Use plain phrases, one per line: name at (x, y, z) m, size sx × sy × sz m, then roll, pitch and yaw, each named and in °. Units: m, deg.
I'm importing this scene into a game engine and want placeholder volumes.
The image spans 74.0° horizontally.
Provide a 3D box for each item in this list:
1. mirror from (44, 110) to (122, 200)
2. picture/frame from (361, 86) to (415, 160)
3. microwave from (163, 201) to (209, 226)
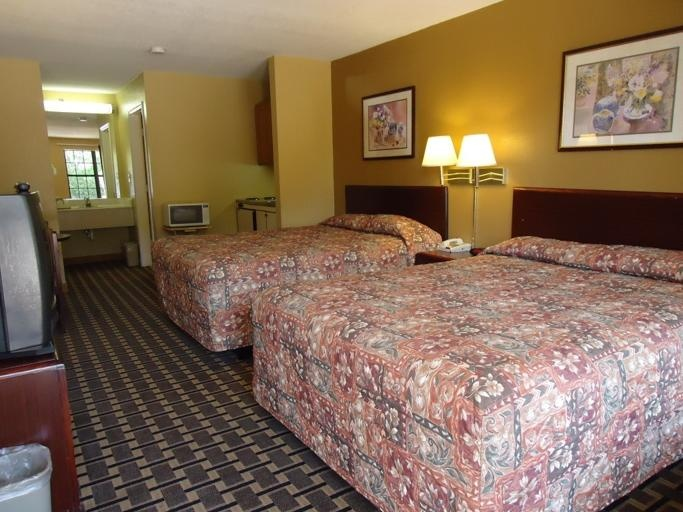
mirror at (-3.700, -1.423, 6.490) m, size 0.815 × 1.194 × 0.359 m, roll -12°, pitch 18°, yaw -36°
picture/frame at (0.489, -1.406, 4.868) m, size 0.775 × 0.711 × 0.031 m, roll -16°, pitch 25°, yaw -33°
microwave at (-2.029, -0.542, 6.040) m, size 0.469 × 0.293 × 0.326 m, roll -5°, pitch 9°, yaw -40°
